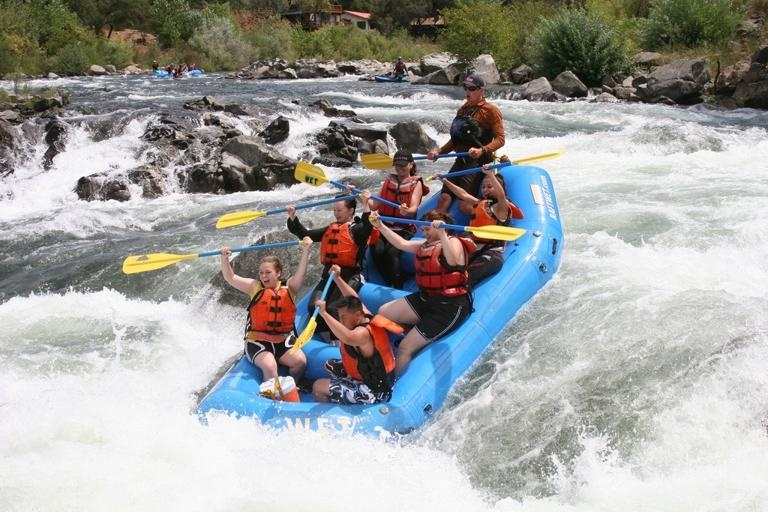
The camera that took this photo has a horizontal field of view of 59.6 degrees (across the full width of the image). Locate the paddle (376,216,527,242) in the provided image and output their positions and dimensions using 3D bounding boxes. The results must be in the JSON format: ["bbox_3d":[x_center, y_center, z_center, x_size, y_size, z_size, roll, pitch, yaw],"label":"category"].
[{"bbox_3d":[0.763,-0.307,7.534,1.567,0.061,0.164,8,34,-1],"label":"paddle"}]

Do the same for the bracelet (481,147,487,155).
[{"bbox_3d":[1.230,-1.298,8.239,0.030,0.076,0.082,19,29,35],"label":"bracelet"}]

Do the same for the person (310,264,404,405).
[{"bbox_3d":[-0.395,0.682,7.150,1.178,1.548,0.943,9,28,5],"label":"person"}]

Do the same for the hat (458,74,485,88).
[{"bbox_3d":[1.116,-2.149,8.278,0.313,0.164,0.207,-9,31,-29],"label":"hat"}]

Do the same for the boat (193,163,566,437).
[{"bbox_3d":[0.687,0.618,7.363,2.131,0.789,4.183,25,54,38],"label":"boat"}]

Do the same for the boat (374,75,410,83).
[{"bbox_3d":[0.287,-6.408,24.114,0.889,0.236,0.547,1,7,3],"label":"boat"}]

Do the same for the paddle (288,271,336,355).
[{"bbox_3d":[-0.668,0.649,6.858,0.308,1.034,0.065,15,-13,41],"label":"paddle"}]
